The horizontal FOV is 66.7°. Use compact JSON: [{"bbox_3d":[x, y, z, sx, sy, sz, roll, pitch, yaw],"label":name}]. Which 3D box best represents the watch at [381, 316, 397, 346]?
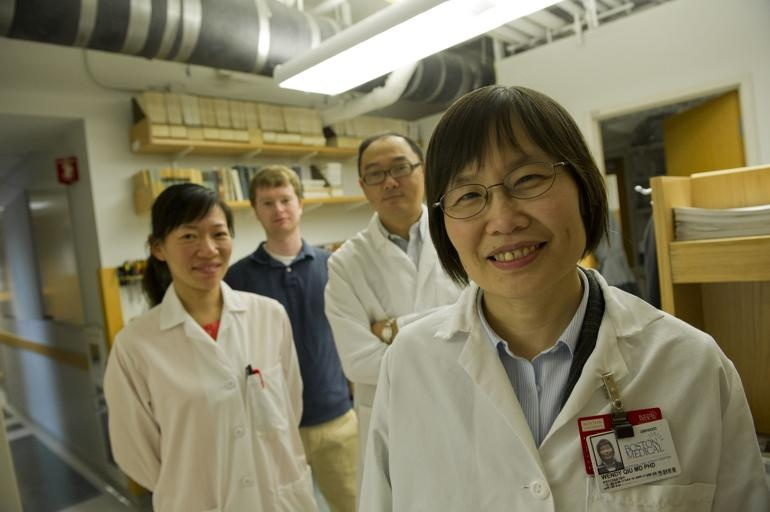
[{"bbox_3d":[0.026,0.379,2.990,0.084,0.117,0.049,-7,-18,45],"label":"watch"}]
